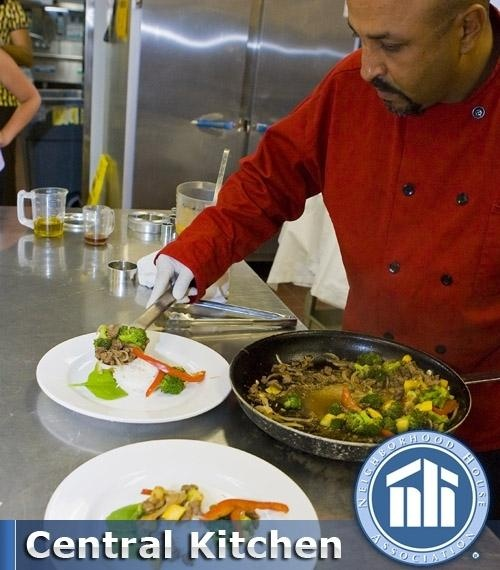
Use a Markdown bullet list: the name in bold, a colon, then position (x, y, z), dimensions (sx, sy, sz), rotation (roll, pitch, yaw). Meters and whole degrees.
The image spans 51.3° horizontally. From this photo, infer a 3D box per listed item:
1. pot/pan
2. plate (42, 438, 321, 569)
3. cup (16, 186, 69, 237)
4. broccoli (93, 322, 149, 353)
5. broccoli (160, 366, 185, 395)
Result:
- **pot/pan**: position (0.146, 0.186, 0.986), dimensions (0.353, 0.045, 0.230), rotation (0, 19, -5)
- **plate**: position (-0.079, 0.243, 0.645), dimensions (0.300, 0.024, 0.143), rotation (3, 16, -6)
- **cup**: position (-0.675, -0.248, 1.786), dimensions (0.241, 0.177, 0.139), rotation (0, 14, -8)
- **broccoli**: position (-0.228, 0.092, 0.928), dimensions (0.085, 0.027, 0.044), rotation (2, 43, 3)
- **broccoli**: position (-0.129, 0.161, 0.866), dimensions (0.036, 0.015, 0.035), rotation (-2, 21, -22)
